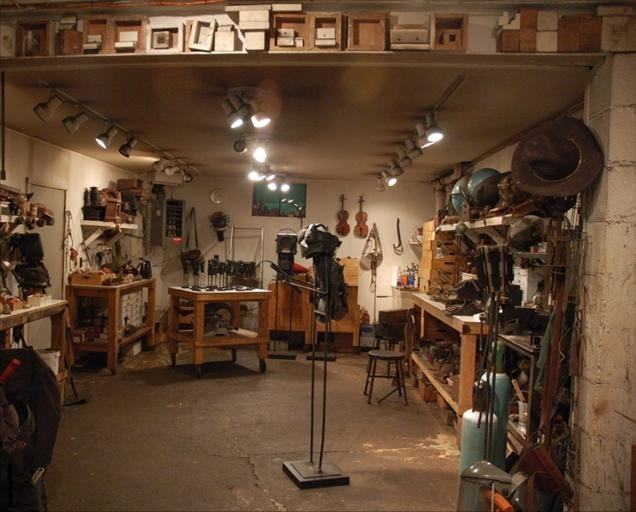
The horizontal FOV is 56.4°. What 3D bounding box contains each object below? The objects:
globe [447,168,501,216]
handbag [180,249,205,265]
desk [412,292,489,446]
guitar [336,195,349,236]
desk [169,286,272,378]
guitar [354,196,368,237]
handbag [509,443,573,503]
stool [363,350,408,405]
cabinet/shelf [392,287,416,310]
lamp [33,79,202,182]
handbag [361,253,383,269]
[{"bbox_3d":[1.690,-0.705,6.427,0.517,0.260,0.525,1,-20,-8],"label":"globe"},{"bbox_3d":[-2.195,0.013,10.216,0.406,0.252,0.323,1,7,-9],"label":"handbag"},{"bbox_3d":[1.350,1.174,6.038,0.410,0.722,1.447,0,6,-5],"label":"desk"},{"bbox_3d":[0.418,-0.686,10.210,0.246,0.721,0.168,2,7,3],"label":"guitar"},{"bbox_3d":[-1.380,0.990,8.090,1.420,0.964,1.476,0,-2,15],"label":"desk"},{"bbox_3d":[0.733,-0.656,10.200,0.239,0.736,0.161,2,7,3],"label":"guitar"},{"bbox_3d":[1.664,1.591,4.352,0.468,0.357,0.126,44,28,8],"label":"handbag"},{"bbox_3d":[0.854,1.402,7.107,0.417,0.488,0.420,-2,-16,13],"label":"stool"},{"bbox_3d":[1.396,0.720,9.942,0.328,0.383,0.384,3,2,26],"label":"cabinet/shelf"},{"bbox_3d":[-2.183,-1.384,6.758,1.450,0.215,0.219,31,-51,-31],"label":"lamp"},{"bbox_3d":[0.901,0.121,10.223,0.392,0.297,0.177,3,7,7],"label":"handbag"}]
